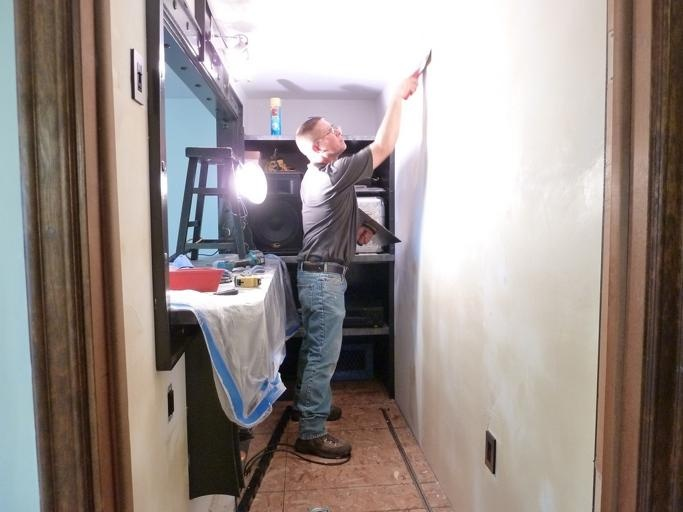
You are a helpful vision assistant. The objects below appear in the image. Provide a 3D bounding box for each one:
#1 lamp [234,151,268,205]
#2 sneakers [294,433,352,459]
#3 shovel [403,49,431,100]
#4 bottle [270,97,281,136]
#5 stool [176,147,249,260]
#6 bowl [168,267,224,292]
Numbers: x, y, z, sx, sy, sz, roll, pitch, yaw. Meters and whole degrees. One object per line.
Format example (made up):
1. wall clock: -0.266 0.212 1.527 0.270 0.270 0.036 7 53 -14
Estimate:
1. lamp: -0.438 -0.333 2.667 0.051 0.258 0.235 -5 -3 22
2. sneakers: -0.079 0.883 2.817 0.260 0.148 0.101 2 -3 6
3. shovel: 0.337 -0.821 2.649 0.038 0.146 0.048 41 3 34
4. bottle: -0.401 -0.868 3.695 0.052 0.221 0.052 0 7 0
5. stool: -0.585 -0.239 2.710 0.294 0.491 0.523 -1 7 -9
6. bowl: -0.500 0.078 2.074 0.169 0.077 0.130 -2 8 -15
